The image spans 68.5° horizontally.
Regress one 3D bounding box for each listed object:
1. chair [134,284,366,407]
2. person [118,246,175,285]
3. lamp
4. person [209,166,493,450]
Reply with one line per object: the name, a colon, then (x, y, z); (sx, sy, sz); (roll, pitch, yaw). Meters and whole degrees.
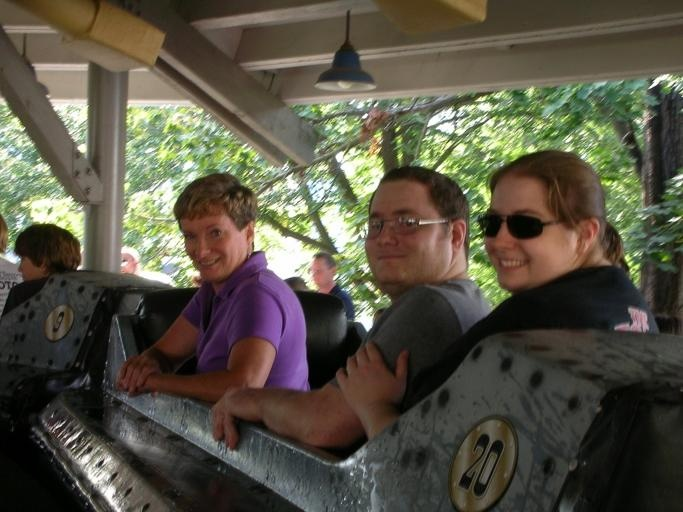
chair: (-0.403, 0.402, 2.431); (0.605, 0.535, 0.661); (-1, 4, 21)
person: (-2.997, 0.105, 7.862); (0.661, 0.758, 0.761); (-2, -11, 25)
lamp: (0.033, -1.700, 4.105); (0.647, 0.551, 0.658); (3, 14, 4)
person: (0.081, 0.144, 1.447); (0.781, 0.782, 0.549); (6, -6, -12)
